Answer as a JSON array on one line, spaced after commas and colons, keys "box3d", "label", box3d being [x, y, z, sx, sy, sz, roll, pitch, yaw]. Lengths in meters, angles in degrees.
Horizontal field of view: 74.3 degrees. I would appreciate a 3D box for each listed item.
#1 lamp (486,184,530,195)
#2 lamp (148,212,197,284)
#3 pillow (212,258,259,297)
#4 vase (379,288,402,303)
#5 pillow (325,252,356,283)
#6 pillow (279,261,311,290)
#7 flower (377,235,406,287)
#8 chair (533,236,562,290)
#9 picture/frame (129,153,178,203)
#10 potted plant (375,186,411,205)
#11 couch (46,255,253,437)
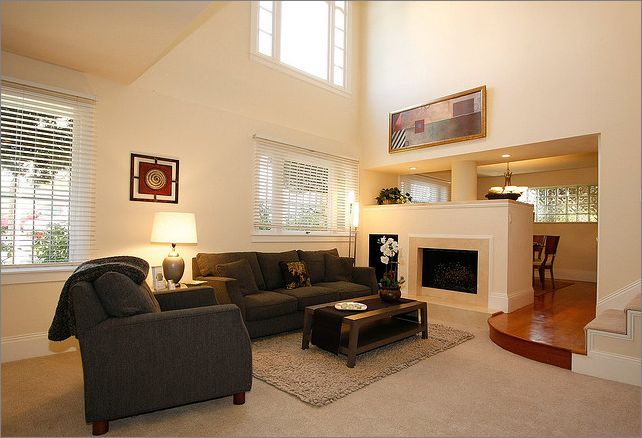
[{"box3d": [3.996, -0.623, 8.943, 0.565, 0.256, 0.572, -3, -3, 34], "label": "lamp"}, {"box3d": [-1.959, 0.435, 5.588, 0.634, 0.986, 0.638, -1, -7, 3], "label": "lamp"}, {"box3d": [-1.111, 0.787, 5.674, 0.489, 0.457, 0.187, -1, -31, -44], "label": "pillow"}, {"box3d": [0.893, 1.000, 5.530, 0.212, 0.134, 0.221, -4, -9, 17], "label": "vase"}, {"box3d": [0.287, 0.800, 6.799, 0.413, 0.356, 0.147, 11, -34, -21], "label": "pillow"}, {"box3d": [-0.399, 0.809, 6.293, 0.514, 0.472, 0.148, 8, -33, -43], "label": "pillow"}, {"box3d": [0.928, 0.696, 5.704, 0.330, 0.739, 0.382, 3, -5, -16], "label": "flower"}, {"box3d": [4.447, 0.854, 8.474, 0.651, 0.904, 0.619, 5, 2, 8], "label": "chair"}, {"box3d": [-2.286, -0.544, 5.675, 0.712, 0.690, 0.096, 2, -2, -38], "label": "picture/frame"}, {"box3d": [1.428, -0.423, 8.194, 0.452, 0.219, 0.481, 1, -2, -25], "label": "potted plant"}, {"box3d": [-1.727, 1.228, 4.461, 1.715, 1.467, 1.553, -2, 0, -23], "label": "couch"}]
